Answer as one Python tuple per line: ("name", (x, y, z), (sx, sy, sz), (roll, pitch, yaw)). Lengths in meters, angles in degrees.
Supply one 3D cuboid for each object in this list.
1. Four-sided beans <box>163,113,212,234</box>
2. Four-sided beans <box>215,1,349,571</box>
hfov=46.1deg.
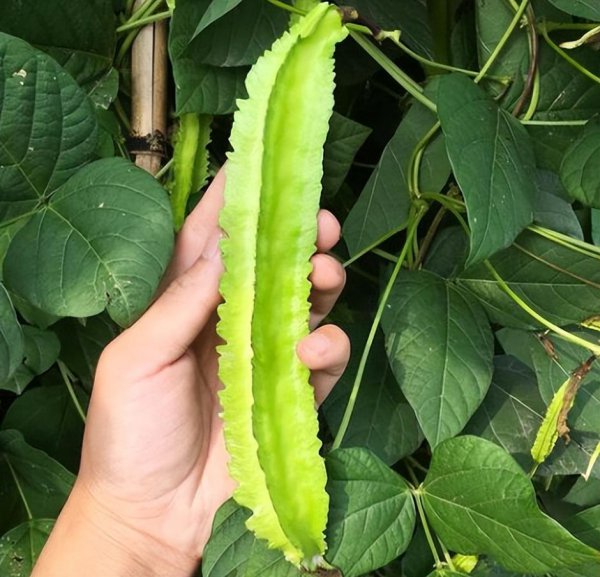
("Four-sided beans", (-0.123, -0.140, 0.812), (0.031, 0.034, 0.144), (-10, -9, -5))
("Four-sided beans", (-0.022, -0.005, 0.675), (0.106, 0.593, 0.095), (0, -5, -17))
